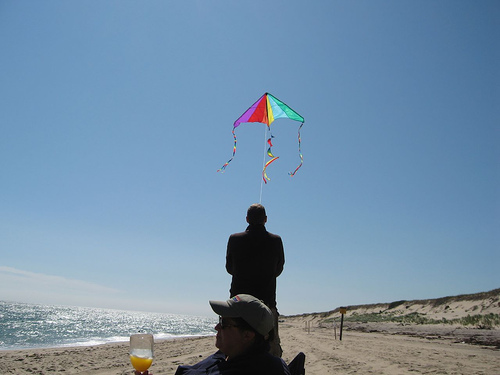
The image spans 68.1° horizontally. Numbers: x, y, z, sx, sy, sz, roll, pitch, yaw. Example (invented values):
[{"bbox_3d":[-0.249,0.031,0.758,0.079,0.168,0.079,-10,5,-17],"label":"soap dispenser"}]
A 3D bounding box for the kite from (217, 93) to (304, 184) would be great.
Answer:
[{"bbox_3d":[0.432,-1.575,8.472,2.619,3.083,0.228,2,-24,1],"label":"kite"}]

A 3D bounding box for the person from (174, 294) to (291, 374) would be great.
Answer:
[{"bbox_3d":[-0.154,2.615,6.498,1.657,1.268,0.712,-1,-22,6],"label":"person"}]
